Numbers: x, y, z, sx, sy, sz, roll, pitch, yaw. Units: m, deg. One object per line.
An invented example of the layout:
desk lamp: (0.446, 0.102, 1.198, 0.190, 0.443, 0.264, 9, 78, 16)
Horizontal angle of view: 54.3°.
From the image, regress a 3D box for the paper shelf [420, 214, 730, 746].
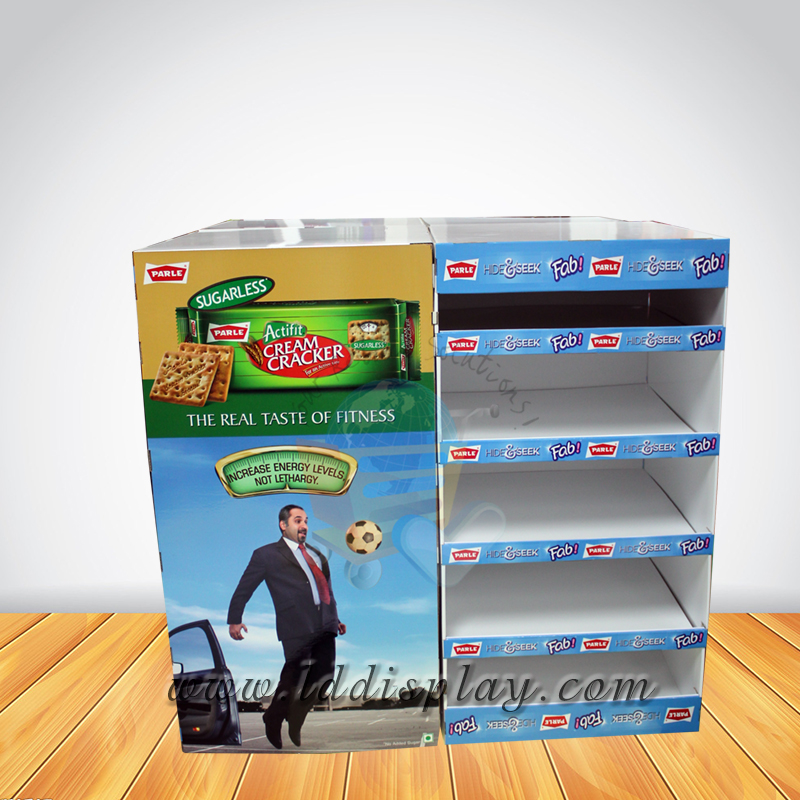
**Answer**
paper shelf: (0.538, 0.235, 2.605, 0.840, 1.619, 0.846, -1, 18, 2)
